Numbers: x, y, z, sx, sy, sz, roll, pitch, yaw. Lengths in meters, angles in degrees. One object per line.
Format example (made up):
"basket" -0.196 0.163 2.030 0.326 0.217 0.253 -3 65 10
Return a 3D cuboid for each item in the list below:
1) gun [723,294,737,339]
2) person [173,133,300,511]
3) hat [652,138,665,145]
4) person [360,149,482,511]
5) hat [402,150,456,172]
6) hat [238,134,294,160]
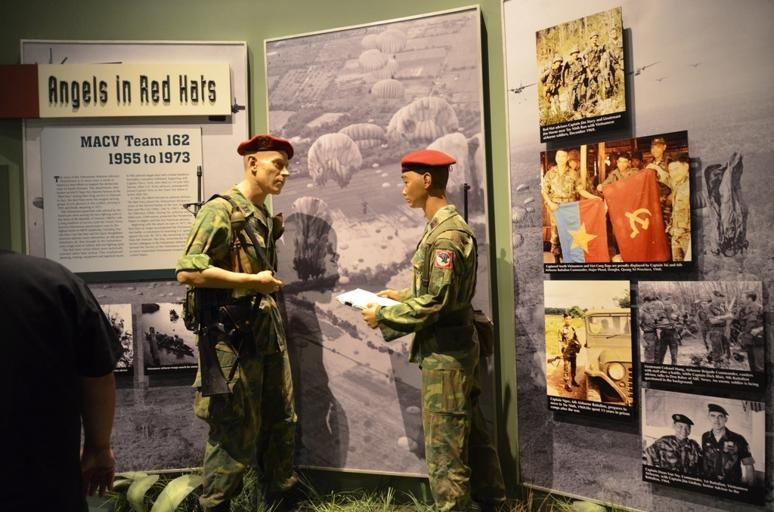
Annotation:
"gun" 2.102 0.365 3.698 0.040 0.293 0.045 6 -2 -17
"person" -0.968 0.497 3.994 0.827 2.626 0.493 -1 2 -37
"hat" 1.722 -0.725 3.835 0.050 0.031 0.050 -3 6 -22
"person" 0.319 0.496 3.877 0.804 2.360 0.484 0 1 8
"hat" 0.242 -0.614 3.911 0.211 0.074 0.193 -3 5 36
"hat" -0.845 -0.751 4.158 0.237 0.076 0.226 3 -4 0
